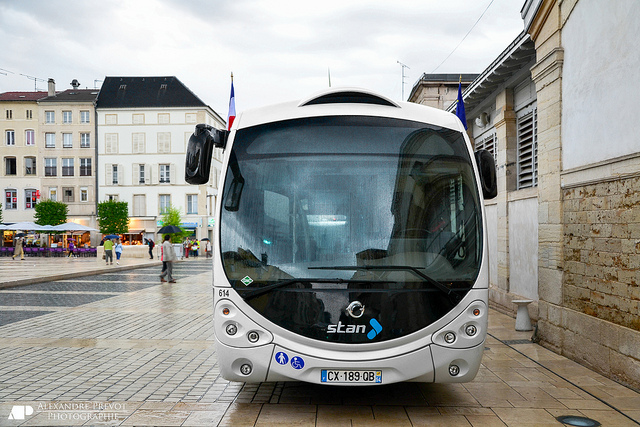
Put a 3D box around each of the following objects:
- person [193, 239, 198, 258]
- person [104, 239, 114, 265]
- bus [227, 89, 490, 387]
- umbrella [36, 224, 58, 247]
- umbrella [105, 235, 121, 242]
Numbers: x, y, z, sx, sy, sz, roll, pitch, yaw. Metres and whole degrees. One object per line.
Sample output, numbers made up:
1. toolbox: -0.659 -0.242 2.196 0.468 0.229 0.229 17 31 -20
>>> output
1. person: -11.864 3.487 50.208 0.363 1.319 1.230 -1 1 -23
2. person: -12.971 2.328 32.569 0.422 1.503 1.670 -1 1 -23
3. bus: 0.865 -0.132 8.607 4.418 4.939 3.096 1 -6 -4
4. umbrella: -20.953 1.644 41.086 1.260 1.596 1.370 0 -3 -6
5. umbrella: -14.688 1.762 37.692 0.765 0.313 0.821 -1 -6 -4
